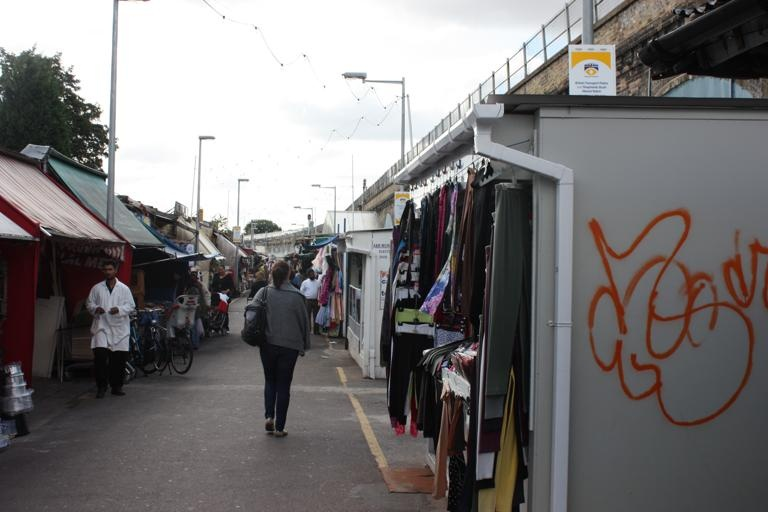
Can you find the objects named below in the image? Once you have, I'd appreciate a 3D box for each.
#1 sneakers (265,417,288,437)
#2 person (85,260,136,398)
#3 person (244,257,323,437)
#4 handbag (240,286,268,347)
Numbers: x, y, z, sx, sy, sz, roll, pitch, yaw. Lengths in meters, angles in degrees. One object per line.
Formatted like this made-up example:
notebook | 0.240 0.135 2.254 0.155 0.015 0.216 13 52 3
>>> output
sneakers | -1.577 2.542 9.755 0.142 0.201 0.431 1 -4 15
person | -4.854 1.305 11.752 0.765 2.413 0.567 0 2 -26
person | -1.552 1.347 9.589 0.929 2.537 0.485 1 2 -12
handbag | -1.826 0.880 9.434 0.339 0.856 0.334 1 2 -11
